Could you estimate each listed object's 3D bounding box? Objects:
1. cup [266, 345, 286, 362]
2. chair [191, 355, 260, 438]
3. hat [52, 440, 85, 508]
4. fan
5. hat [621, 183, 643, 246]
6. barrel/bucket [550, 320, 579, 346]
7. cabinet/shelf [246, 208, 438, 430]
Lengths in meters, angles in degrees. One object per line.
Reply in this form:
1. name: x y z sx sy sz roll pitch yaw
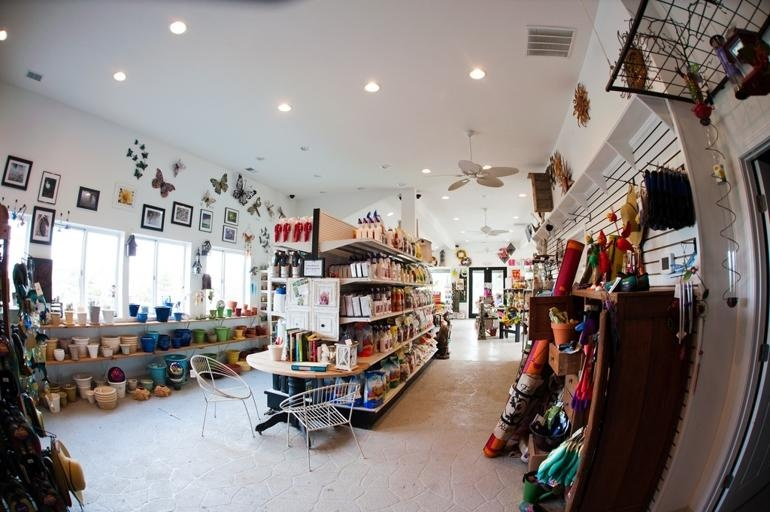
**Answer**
1. cup: -1.422 1.276 5.866 0.202 0.150 0.203 1 -4 0
2. chair: -2.378 2.101 6.604 0.889 1.234 0.959 -3 1 -3
3. hat: -3.108 2.156 4.392 0.259 0.726 0.477 -4 7 -35
4. fan: 1.635 -1.746 7.698 1.126 0.796 1.127 3 -8 -6
5. hat: 2.648 -0.431 4.770 0.199 0.682 0.693 3 7 30
6. barrel/bucket: 1.832 0.782 4.501 0.238 0.190 0.240 1 -11 0
7. cabinet/shelf: -0.645 1.053 6.816 1.351 2.218 3.297 -2 -3 11
